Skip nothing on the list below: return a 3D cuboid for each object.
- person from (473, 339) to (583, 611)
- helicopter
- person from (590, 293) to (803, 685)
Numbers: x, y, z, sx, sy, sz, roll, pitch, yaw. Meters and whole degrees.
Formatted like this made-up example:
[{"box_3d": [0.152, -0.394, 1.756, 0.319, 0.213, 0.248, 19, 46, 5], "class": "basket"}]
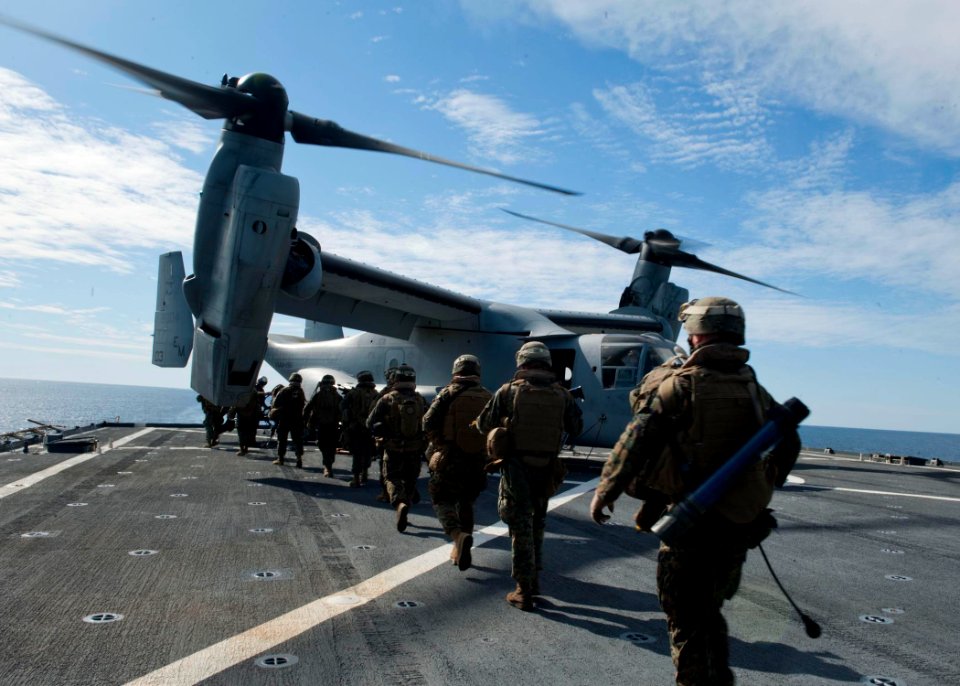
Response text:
[{"box_3d": [0.511, 1.302, 6.710, 1.004, 2.506, 0.897, 9, -2, -16], "class": "person"}, {"box_3d": [-3.923, -1.352, 15.279, 10.264, 4.082, 14.176, 5, 0, 45], "class": "helicopter"}, {"box_3d": [1.621, 1.084, 4.753, 1.347, 2.357, 0.631, 8, -2, 11], "class": "person"}]
